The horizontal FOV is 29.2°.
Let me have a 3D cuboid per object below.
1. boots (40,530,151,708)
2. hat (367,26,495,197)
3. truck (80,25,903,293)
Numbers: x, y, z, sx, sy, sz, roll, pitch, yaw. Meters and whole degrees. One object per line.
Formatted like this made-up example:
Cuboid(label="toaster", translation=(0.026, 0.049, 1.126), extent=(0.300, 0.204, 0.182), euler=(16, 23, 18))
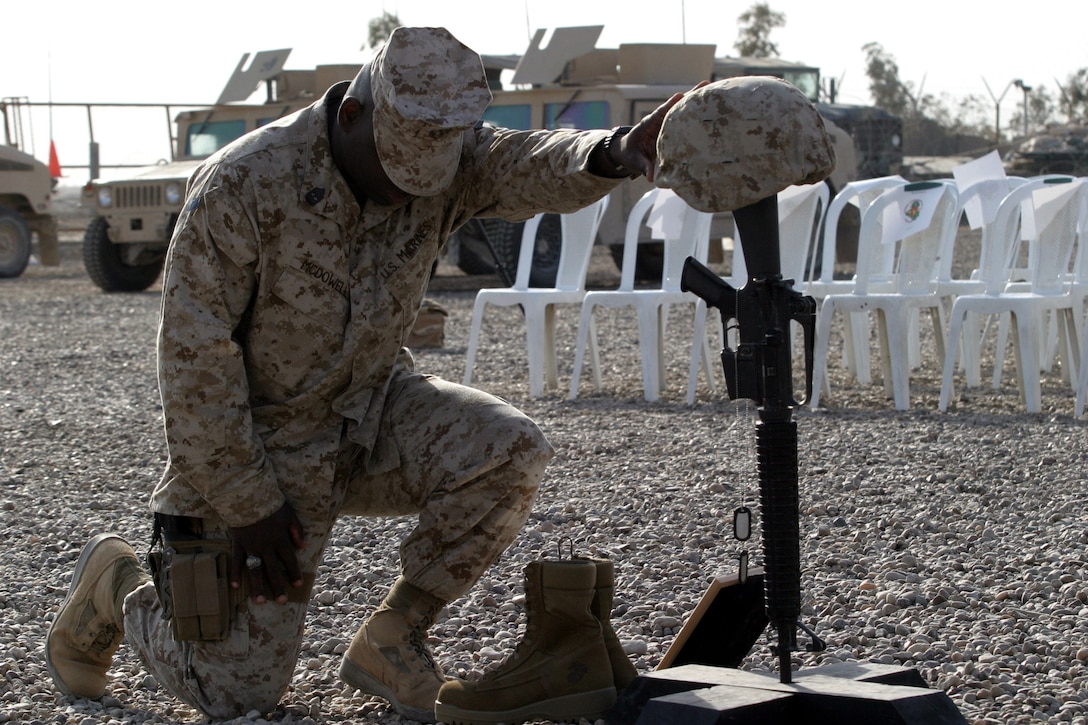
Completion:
Cuboid(label="boots", translation=(-1.723, 0.963, 8.021), extent=(0.251, 0.728, 0.330), euler=(28, -8, -23))
Cuboid(label="hat", translation=(-0.434, -0.978, 7.654), extent=(0.467, 0.585, 0.261), euler=(5, -24, -19))
Cuboid(label="truck", translation=(-0.117, -1.859, 16.722), extent=(5.545, 1.840, 3.937), euler=(-2, 2, -36))
